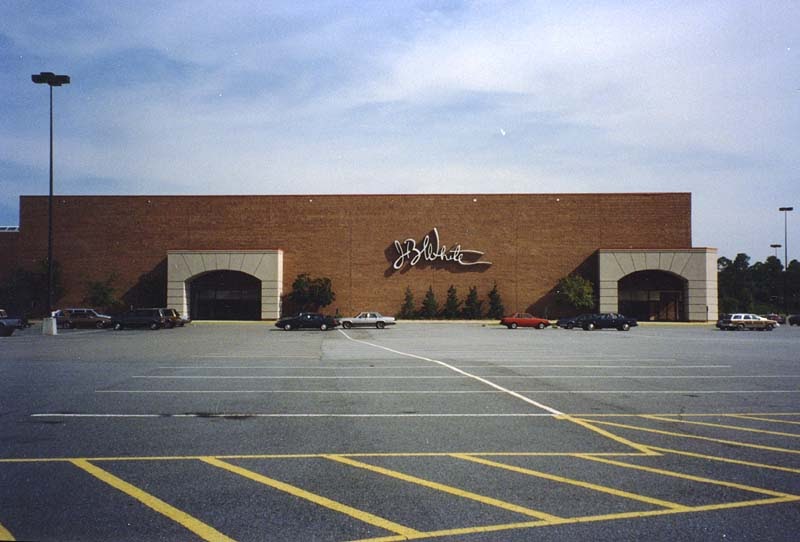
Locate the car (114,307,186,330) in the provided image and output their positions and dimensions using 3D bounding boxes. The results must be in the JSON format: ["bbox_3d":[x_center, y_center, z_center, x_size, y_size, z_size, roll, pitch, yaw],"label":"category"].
[{"bbox_3d":[-16.169,3.138,66.284,3.154,1.309,3.929,1,-1,4],"label":"car"}]

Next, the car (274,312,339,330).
[{"bbox_3d":[-5.878,3.398,66.437,3.549,0.940,1.440,2,-5,-5],"label":"car"}]

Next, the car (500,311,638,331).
[{"bbox_3d":[11.143,3.402,68.969,8.091,1.075,3.736,0,-1,17],"label":"car"}]

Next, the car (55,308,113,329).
[{"bbox_3d":[-20.409,3.204,67.190,3.069,1.016,1.569,-1,-1,-8],"label":"car"}]

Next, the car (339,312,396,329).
[{"bbox_3d":[-2.226,3.433,69.083,2.974,0.796,1.391,2,-5,-2],"label":"car"}]

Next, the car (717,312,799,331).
[{"bbox_3d":[22.927,3.510,69.065,3.456,0.944,1.482,-2,0,5],"label":"car"}]
